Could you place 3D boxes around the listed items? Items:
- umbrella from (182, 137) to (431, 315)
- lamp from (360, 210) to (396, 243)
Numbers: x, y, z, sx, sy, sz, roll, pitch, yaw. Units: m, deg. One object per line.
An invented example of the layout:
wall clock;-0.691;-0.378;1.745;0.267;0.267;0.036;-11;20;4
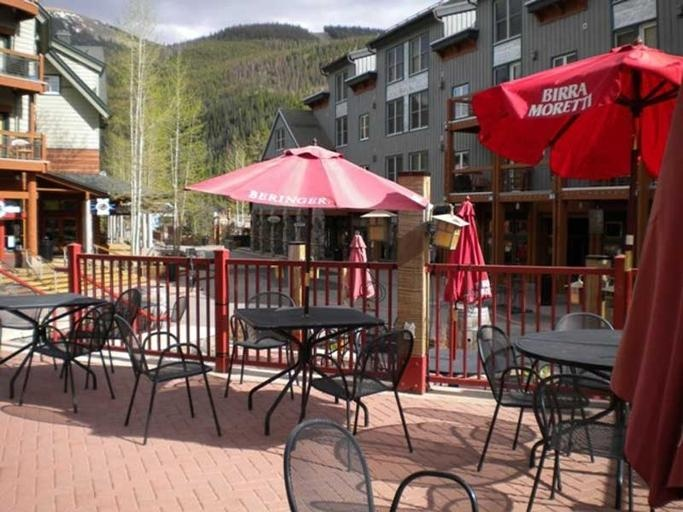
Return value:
umbrella;-0.272;-0.384;8.903;1.434;1.140;1.531;9;14;29
lamp;1.182;-0.858;20.869;0.993;1.037;1.101;0;2;-15
